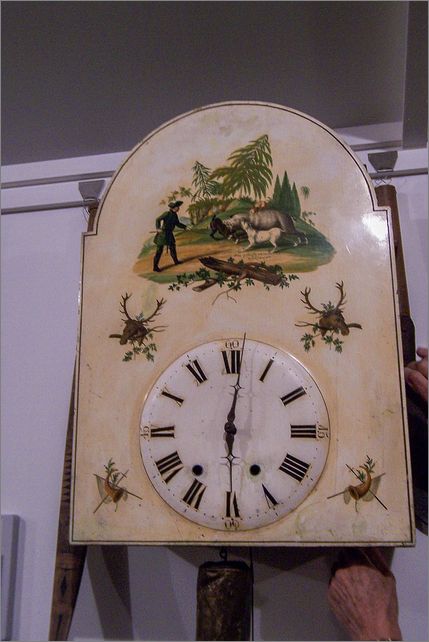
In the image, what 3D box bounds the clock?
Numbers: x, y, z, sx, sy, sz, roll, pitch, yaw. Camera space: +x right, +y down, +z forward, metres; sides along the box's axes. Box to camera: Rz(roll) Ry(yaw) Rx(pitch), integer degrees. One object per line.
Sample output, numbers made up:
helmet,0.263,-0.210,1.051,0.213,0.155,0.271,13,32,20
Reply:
clock,0.082,-0.025,4.519,1.340,2.294,0.301,-1,36,-3
